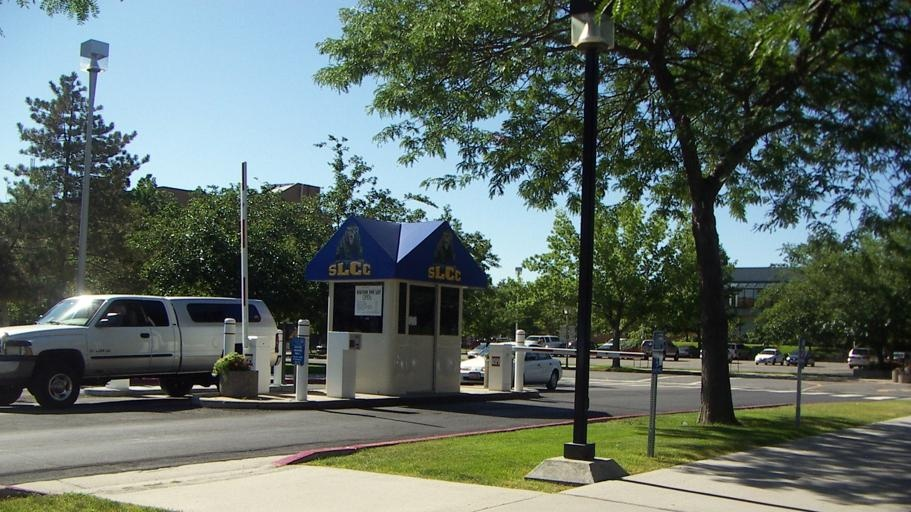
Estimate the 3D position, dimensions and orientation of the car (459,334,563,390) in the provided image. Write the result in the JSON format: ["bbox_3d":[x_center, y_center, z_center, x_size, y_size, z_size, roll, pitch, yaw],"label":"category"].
[{"bbox_3d":[3.267,5.067,38.533,2.255,1.629,4.953,-7,-12,41],"label":"car"}]

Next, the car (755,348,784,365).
[{"bbox_3d":[31.845,10.165,81.954,2.880,1.517,1.710,5,-10,-27],"label":"car"}]

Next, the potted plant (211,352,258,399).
[{"bbox_3d":[-7.660,4.165,27.987,1.874,1.892,1.385,2,-8,-25],"label":"potted plant"}]
